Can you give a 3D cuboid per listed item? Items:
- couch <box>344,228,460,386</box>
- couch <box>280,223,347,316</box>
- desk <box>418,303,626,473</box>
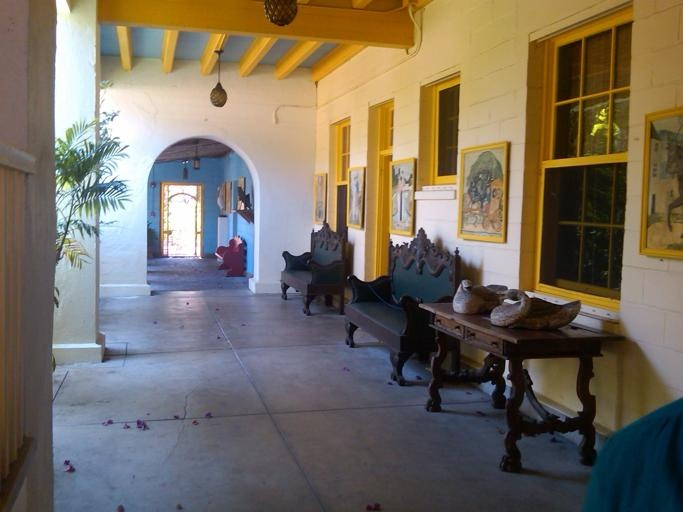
[{"bbox_3d":[0.724,0.612,5.721,0.572,1.411,1.609,0,7,-13],"label":"couch"},{"bbox_3d":[-0.494,0.274,9.041,0.566,1.226,1.548,0,5,-16],"label":"couch"},{"bbox_3d":[1.369,1.010,4.218,0.803,1.023,1.630,-1,3,-13],"label":"desk"}]
